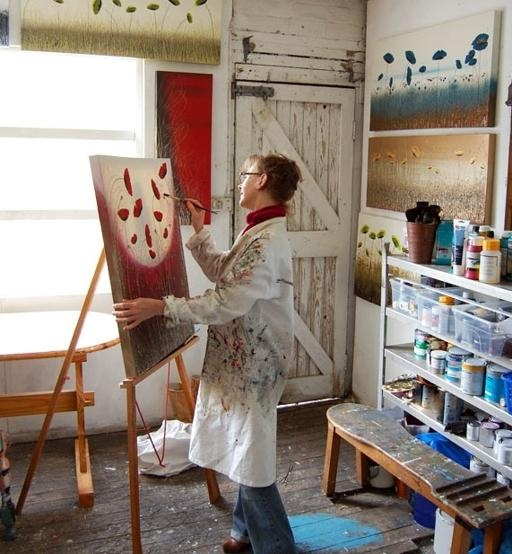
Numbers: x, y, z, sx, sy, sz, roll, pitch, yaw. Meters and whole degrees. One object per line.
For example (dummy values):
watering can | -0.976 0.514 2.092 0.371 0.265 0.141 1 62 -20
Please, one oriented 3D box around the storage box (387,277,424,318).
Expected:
storage box | 0.730 0.092 2.290 0.108 0.122 0.169 11 -7 38
